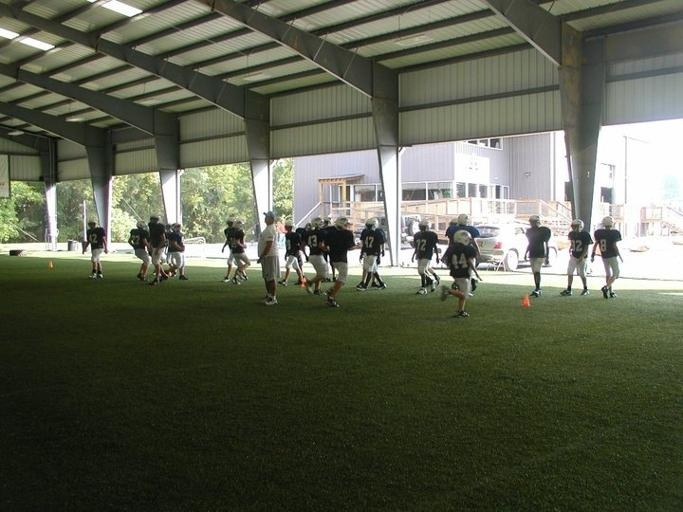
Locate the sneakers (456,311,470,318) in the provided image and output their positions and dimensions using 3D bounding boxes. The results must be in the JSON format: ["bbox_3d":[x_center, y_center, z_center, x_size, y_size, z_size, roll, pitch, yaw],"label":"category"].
[{"bbox_3d":[2.262,1.096,9.927,0.259,0.112,0.098,0,9,-23],"label":"sneakers"}]

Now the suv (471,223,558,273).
[{"bbox_3d":[5.866,-0.348,19.363,2.562,1.142,1.393,-9,9,-44],"label":"suv"}]

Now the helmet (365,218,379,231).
[{"bbox_3d":[0.715,-0.820,13.717,0.256,0.330,0.325,-3,-9,34],"label":"helmet"}]

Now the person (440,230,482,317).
[{"bbox_3d":[2.263,0.306,10.310,0.663,1.616,1.244,1,3,14],"label":"person"}]

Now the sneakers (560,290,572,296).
[{"bbox_3d":[5.474,0.899,12.942,0.406,0.164,0.134,2,-4,-18],"label":"sneakers"}]

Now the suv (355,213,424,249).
[{"bbox_3d":[2.635,-1.296,28.741,2.823,1.652,1.985,3,4,18],"label":"suv"}]

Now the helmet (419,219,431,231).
[{"bbox_3d":[1.997,-0.731,12.815,0.248,0.249,0.247,-14,19,-33],"label":"helmet"}]

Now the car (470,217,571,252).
[{"bbox_3d":[6.116,-0.747,18.689,2.889,0.996,1.318,-10,10,-33],"label":"car"}]

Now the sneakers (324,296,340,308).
[{"bbox_3d":[-0.189,0.978,11.168,0.132,0.169,0.363,6,-7,31],"label":"sneakers"}]

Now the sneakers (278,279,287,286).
[{"bbox_3d":[-1.725,0.787,15.620,0.093,0.176,0.260,13,15,-47],"label":"sneakers"}]

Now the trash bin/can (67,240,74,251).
[{"bbox_3d":[-17.871,-0.656,35.355,0.402,0.622,0.953,-1,3,-30],"label":"trash bin/can"}]

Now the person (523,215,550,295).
[{"bbox_3d":[4.776,-0.024,13.053,0.525,1.914,1.337,1,3,19],"label":"person"}]

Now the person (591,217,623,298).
[{"bbox_3d":[6.171,0.030,12.422,0.583,1.880,0.834,1,3,25],"label":"person"}]

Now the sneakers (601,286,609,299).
[{"bbox_3d":[6.038,0.851,12.304,0.163,0.198,0.447,2,-9,26],"label":"sneakers"}]

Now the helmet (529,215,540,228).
[{"bbox_3d":[4.505,-0.814,12.559,0.222,0.290,0.292,-2,11,3],"label":"helmet"}]

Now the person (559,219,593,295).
[{"bbox_3d":[5.794,0.022,13.159,0.620,1.813,1.527,1,3,24],"label":"person"}]

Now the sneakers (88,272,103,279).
[{"bbox_3d":[-7.927,0.651,17.306,0.534,0.232,0.196,1,-5,33],"label":"sneakers"}]

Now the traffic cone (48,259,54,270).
[{"bbox_3d":[-12.437,0.392,22.866,0.180,0.313,0.196,-7,-14,19],"label":"traffic cone"}]

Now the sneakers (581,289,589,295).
[{"bbox_3d":[5.894,0.875,12.920,0.104,0.138,0.318,-4,-4,37],"label":"sneakers"}]

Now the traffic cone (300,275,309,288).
[{"bbox_3d":[-1.071,0.745,14.908,0.183,0.228,0.542,0,-3,-12],"label":"traffic cone"}]

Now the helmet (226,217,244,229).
[{"bbox_3d":[-2.925,-0.904,14.742,0.464,0.233,0.318,-6,8,-15],"label":"helmet"}]

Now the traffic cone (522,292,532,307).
[{"bbox_3d":[4.084,0.975,11.800,0.215,0.247,0.183,0,10,13],"label":"traffic cone"}]
